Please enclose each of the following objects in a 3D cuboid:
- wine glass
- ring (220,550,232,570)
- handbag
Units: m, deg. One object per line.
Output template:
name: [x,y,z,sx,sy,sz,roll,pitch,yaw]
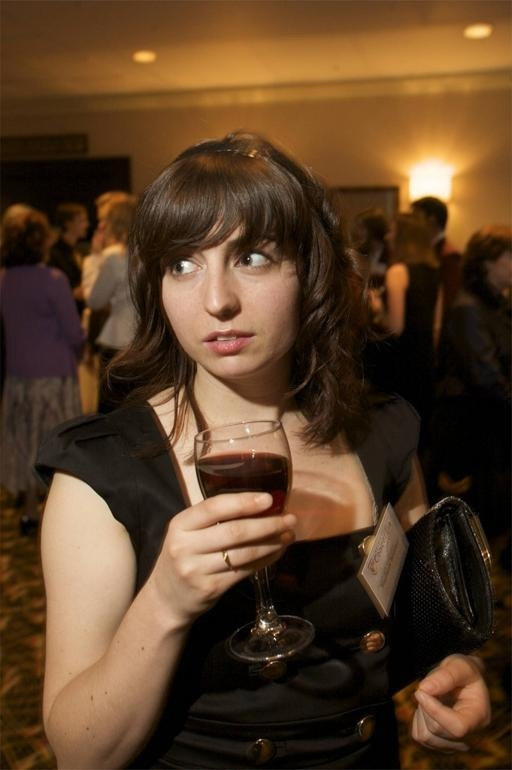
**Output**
wine glass: [0.008,0.273,0.992,0.169,0.489,0.362,1,14,6]
ring: [-0.036,0.225,0.790,0.012,0.031,0.012,-1,14,0]
handbag: [0.374,0.381,1.228,0.103,0.294,0.281,5,57,0]
